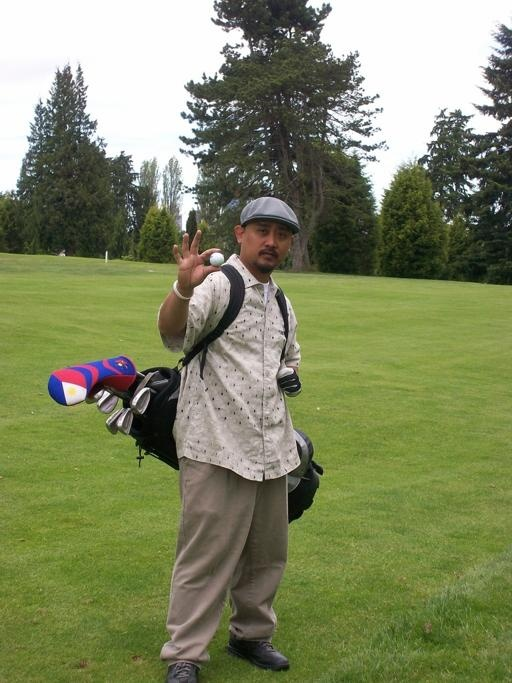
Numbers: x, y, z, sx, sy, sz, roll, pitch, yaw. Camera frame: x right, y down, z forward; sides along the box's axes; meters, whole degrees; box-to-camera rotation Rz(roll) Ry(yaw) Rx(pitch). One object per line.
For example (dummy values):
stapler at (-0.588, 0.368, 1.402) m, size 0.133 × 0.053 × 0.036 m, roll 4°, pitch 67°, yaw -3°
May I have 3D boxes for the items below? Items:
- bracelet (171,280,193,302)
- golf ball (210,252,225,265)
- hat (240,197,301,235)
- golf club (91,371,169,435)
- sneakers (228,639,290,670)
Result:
bracelet at (-0.262, -0.174, 2.602) m, size 0.027 × 0.072 × 0.070 m, roll -20°, pitch 4°, yaw 45°
golf ball at (-0.143, -0.303, 2.699) m, size 0.045 × 0.042 × 0.045 m, roll -12°, pitch -17°, yaw -4°
hat at (0.057, -0.529, 3.068) m, size 0.156 × 0.093 × 0.198 m, roll 8°, pitch -18°, yaw -7°
golf club at (-0.519, 0.267, 3.048) m, size 0.272 × 0.272 × 0.113 m, roll 40°, pitch -25°, yaw 12°
sneakers at (0.017, 1.257, 2.982) m, size 0.240 × 0.092 × 0.087 m, roll -1°, pitch -1°, yaw 34°
